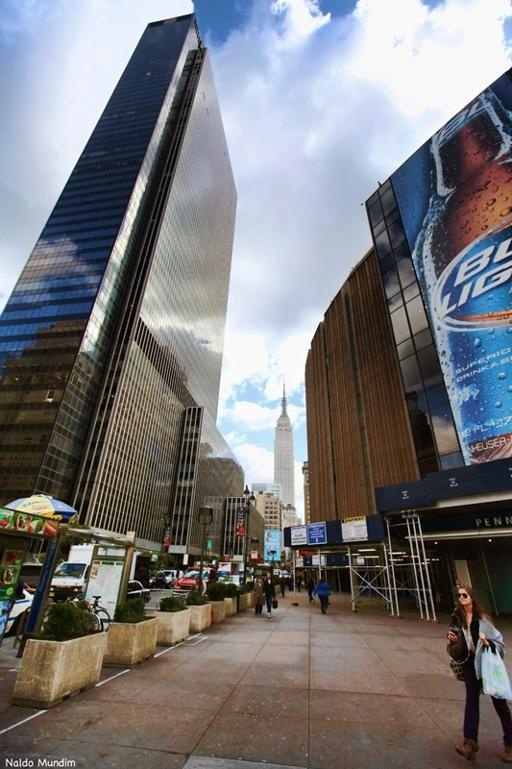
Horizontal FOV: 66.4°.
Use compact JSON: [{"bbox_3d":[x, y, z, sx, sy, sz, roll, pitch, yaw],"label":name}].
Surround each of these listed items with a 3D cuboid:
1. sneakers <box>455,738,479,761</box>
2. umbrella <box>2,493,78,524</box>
[{"bbox_3d":[2.140,3.786,3.991,0.214,0.146,0.275,-7,-22,20],"label":"sneakers"},{"bbox_3d":[-6.687,3.950,12.512,1.120,0.723,1.999,-2,-21,9],"label":"umbrella"}]
